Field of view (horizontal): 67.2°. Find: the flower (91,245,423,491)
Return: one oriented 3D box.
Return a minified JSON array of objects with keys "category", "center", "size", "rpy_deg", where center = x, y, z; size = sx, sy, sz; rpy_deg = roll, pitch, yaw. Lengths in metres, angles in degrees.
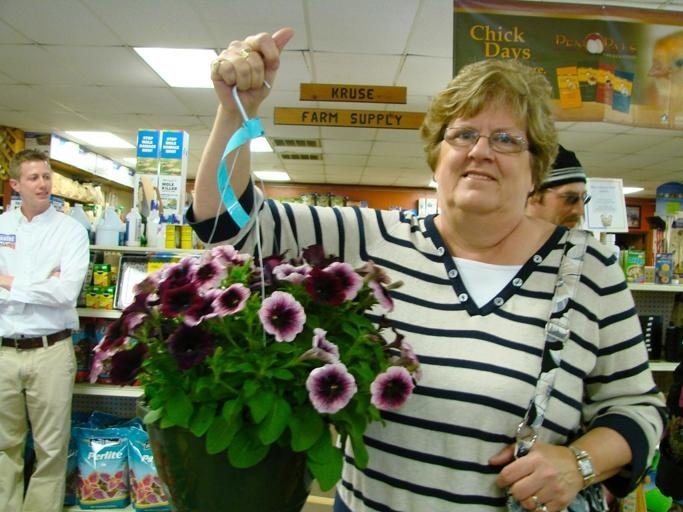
[{"category":"flower","center":[-0.318,0.455,1.586],"size":[0.882,0.607,0.881],"rpy_deg":[-14,-20,42]}]

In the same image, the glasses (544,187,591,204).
[{"category":"glasses","center":[1.223,-0.306,2.722],"size":[0.111,0.041,0.140],"rpy_deg":[9,0,-39]}]

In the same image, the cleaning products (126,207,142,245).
[{"category":"cleaning products","center":[-1.530,-0.205,3.810],"size":[0.121,0.279,0.119],"rpy_deg":[4,3,22]}]

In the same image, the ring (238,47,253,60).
[{"category":"ring","center":[-0.280,-0.583,1.499],"size":[0.041,0.027,0.036],"rpy_deg":[-3,-43,-31]}]

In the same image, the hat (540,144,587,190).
[{"category":"hat","center":[1.192,-0.464,2.794],"size":[0.175,0.183,0.235],"rpy_deg":[-14,8,-21]}]

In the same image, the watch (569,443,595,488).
[{"category":"watch","center":[0.775,0.678,1.656],"size":[0.067,0.111,0.111],"rpy_deg":[-13,-20,11]}]

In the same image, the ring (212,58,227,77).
[{"category":"ring","center":[-0.353,-0.537,1.490],"size":[0.038,0.049,0.013],"rpy_deg":[8,-2,19]}]
